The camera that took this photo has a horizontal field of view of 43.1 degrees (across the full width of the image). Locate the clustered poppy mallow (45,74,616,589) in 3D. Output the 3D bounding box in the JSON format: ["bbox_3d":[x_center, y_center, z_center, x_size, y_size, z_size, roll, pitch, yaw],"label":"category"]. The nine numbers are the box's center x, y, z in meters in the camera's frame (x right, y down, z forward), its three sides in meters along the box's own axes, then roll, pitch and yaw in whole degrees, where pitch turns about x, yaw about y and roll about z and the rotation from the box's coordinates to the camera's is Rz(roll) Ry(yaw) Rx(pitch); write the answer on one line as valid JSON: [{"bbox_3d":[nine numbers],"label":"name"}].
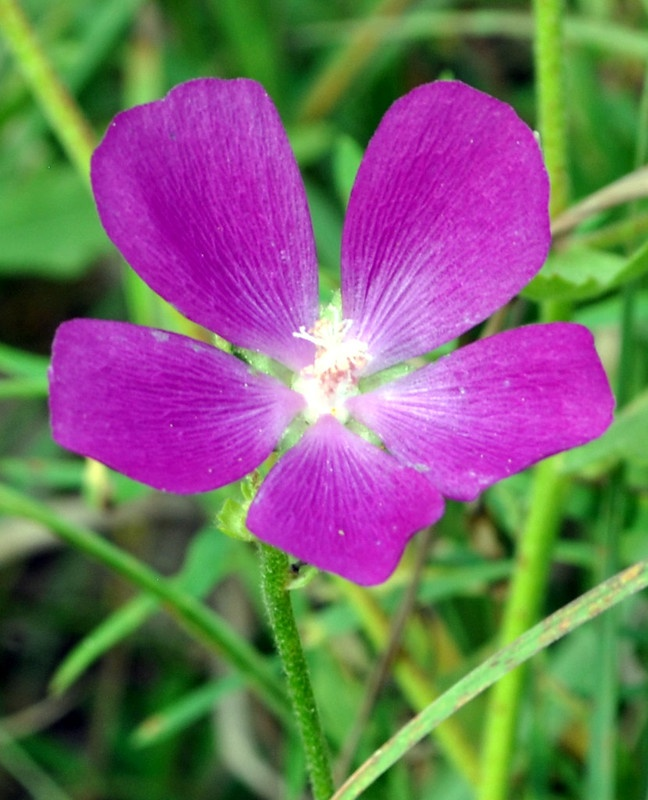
[{"bbox_3d":[-0.006,-0.059,0.420,0.265,0.208,0.195,-5,-67,-11],"label":"clustered poppy mallow"}]
